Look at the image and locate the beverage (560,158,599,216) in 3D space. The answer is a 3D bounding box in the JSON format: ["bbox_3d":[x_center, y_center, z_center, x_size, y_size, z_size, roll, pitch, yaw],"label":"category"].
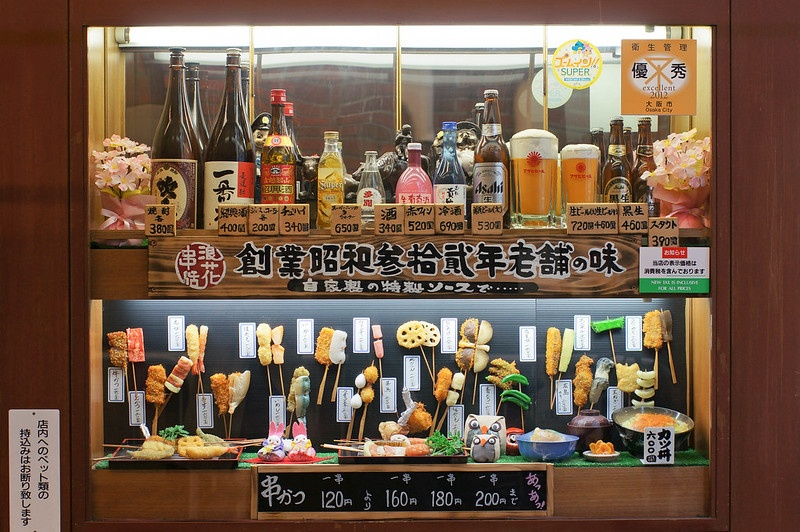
[{"bbox_3d":[0.653,-0.320,3.687,0.139,0.216,0.136,5,23,17],"label":"beverage"}]

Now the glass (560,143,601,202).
[{"bbox_3d":[0.652,-0.324,3.695,0.144,0.226,0.142,-8,22,-15],"label":"glass"}]

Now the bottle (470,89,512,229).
[{"bbox_3d":[0.339,-0.387,3.713,0.134,0.509,0.267,0,-2,7],"label":"bottle"}]

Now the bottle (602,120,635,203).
[{"bbox_3d":[0.802,-0.384,3.739,0.109,0.314,0.138,-1,-2,14],"label":"bottle"}]

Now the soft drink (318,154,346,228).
[{"bbox_3d":[-0.248,-0.273,3.654,0.101,0.282,0.179,0,-2,-5],"label":"soft drink"}]

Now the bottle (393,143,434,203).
[{"bbox_3d":[0.053,-0.329,3.655,0.137,0.215,0.094,0,-2,5],"label":"bottle"}]

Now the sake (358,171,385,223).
[{"bbox_3d":[-0.106,-0.255,3.695,0.107,0.197,0.160,0,-2,-2],"label":"sake"}]

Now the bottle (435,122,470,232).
[{"bbox_3d":[0.184,-0.321,3.661,0.124,0.393,0.196,0,-2,3],"label":"bottle"}]

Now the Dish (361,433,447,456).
[{"bbox_3d":[0.001,0.651,3.691,0.261,0.060,0.155,0,-2,-2],"label":"Dish"}]

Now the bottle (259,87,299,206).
[{"bbox_3d":[-0.441,-0.431,3.699,0.137,0.446,0.266,0,-2,-6],"label":"bottle"}]
